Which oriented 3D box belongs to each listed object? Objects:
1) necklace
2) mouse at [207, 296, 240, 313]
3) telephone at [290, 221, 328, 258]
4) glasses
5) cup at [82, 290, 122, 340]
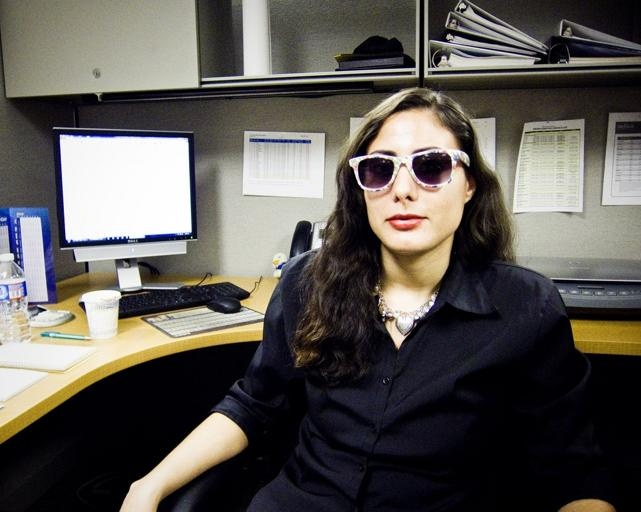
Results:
[{"bbox_3d":[0.181,0.093,1.134,0.129,0.040,0.162,0,34,8],"label":"necklace"},{"bbox_3d":[-0.267,0.129,1.483,0.061,0.020,0.046,10,12,32],"label":"mouse"},{"bbox_3d":[-0.040,-0.052,1.681,0.092,0.129,0.128,4,-1,3],"label":"telephone"},{"bbox_3d":[0.175,-0.171,1.083,0.233,0.083,0.084,2,9,13],"label":"glasses"},{"bbox_3d":[-0.531,0.138,1.326,0.110,0.117,0.107,2,4,0],"label":"cup"}]
